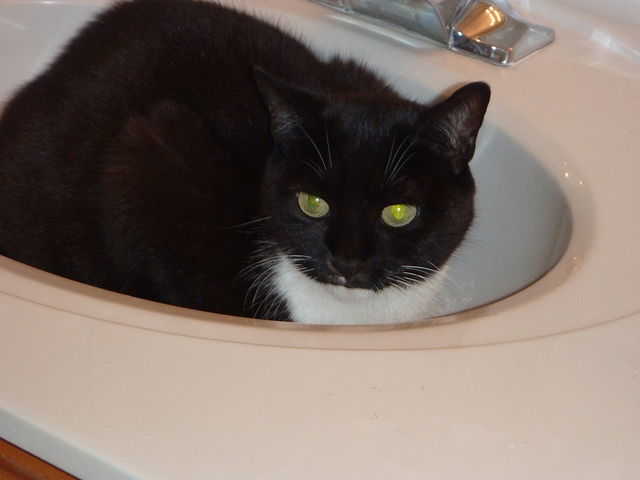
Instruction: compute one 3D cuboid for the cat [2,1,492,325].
[{"bbox_3d":[-0.183,-0.179,1.398,0.551,0.478,0.891,-22,41,-39],"label":"cat"}]
